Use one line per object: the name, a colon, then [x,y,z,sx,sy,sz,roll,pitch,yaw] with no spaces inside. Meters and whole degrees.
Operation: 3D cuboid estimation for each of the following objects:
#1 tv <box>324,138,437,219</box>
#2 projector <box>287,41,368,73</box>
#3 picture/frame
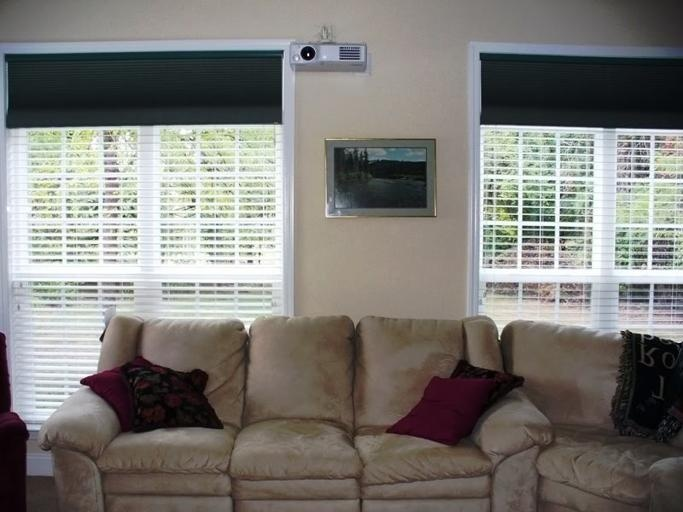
tv: [0.279,-0.614,5.894,0.702,0.436,0.014,0,-4,-1]
projector: [-0.091,-1.408,5.439,0.326,0.102,0.303,0,2,10]
picture/frame: [0.280,-0.615,5.893,0.696,0.432,0.014,0,-4,-1]
